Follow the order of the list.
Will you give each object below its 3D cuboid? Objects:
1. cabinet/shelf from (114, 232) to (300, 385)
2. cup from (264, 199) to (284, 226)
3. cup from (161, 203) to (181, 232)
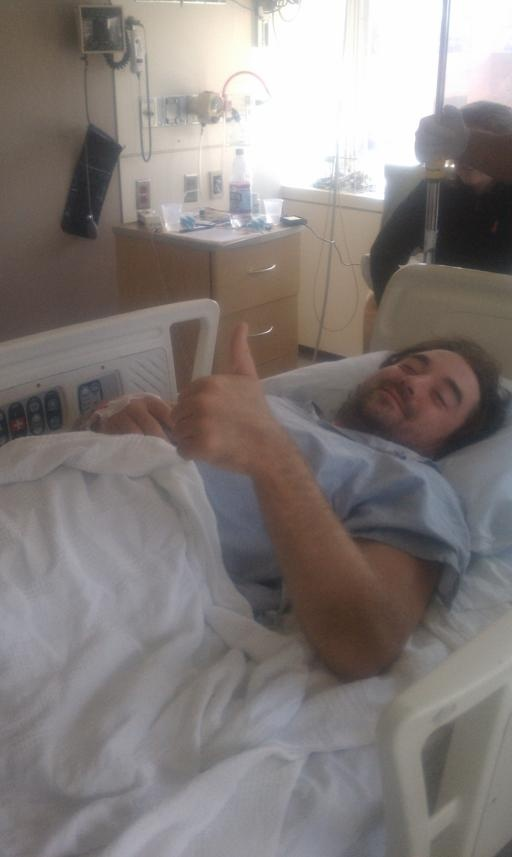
[{"bbox_3d":[-0.107,-0.562,2.785,0.522,0.702,0.502,-16,39,-24],"label":"cabinet/shelf"},{"bbox_3d":[0.075,-0.895,2.659,0.066,0.097,0.113,0,23,-1],"label":"cup"},{"bbox_3d":[-0.330,-0.835,2.529,0.073,0.103,0.135,-3,23,-9],"label":"cup"}]
